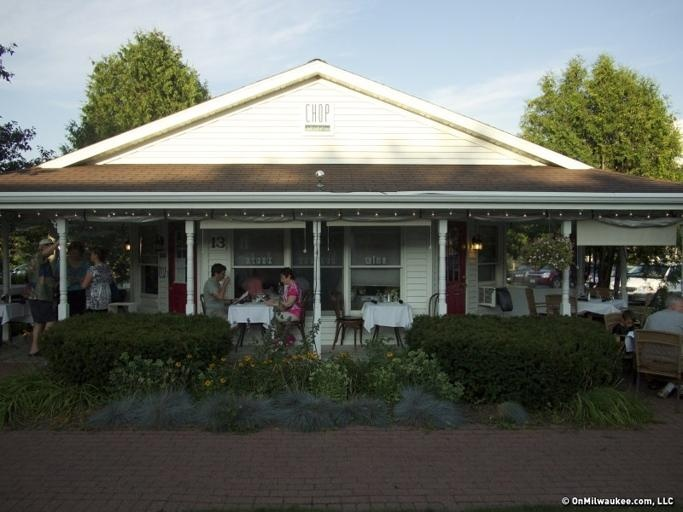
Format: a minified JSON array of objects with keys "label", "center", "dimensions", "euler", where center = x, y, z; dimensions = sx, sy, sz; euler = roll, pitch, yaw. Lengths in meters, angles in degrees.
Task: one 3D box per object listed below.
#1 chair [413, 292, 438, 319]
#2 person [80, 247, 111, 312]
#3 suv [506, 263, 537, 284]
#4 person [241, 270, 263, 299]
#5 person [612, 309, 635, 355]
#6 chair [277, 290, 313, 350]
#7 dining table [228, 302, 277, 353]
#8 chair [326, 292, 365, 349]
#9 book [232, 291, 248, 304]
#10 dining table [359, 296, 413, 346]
[{"label":"chair","center":[1.777,1.017,13.138],"dimensions":[0.466,0.495,0.256],"euler":[-2,-2,24]},{"label":"person","center":[-4.906,0.447,12.490],"dimensions":[0.549,1.253,0.437],"euler":[3,-4,-24]},{"label":"suv","center":[9.490,0.956,32.688],"dimensions":[1.451,1.037,2.419],"euler":[-1,-5,18]},{"label":"person","center":[-1.865,0.569,13.245],"dimensions":[0.444,0.627,0.729],"euler":[2,-3,-15]},{"label":"person","center":[5.250,1.382,11.578],"dimensions":[0.373,0.733,1.234],"euler":[0,-3,24]},{"label":"chair","center":[-0.996,1.278,12.806],"dimensions":[0.736,1.018,0.764],"euler":[-4,7,-17]},{"label":"dining table","center":[-1.794,1.280,12.648],"dimensions":[0.940,0.872,0.933],"euler":[1,11,6]},{"label":"chair","center":[0.051,1.368,13.320],"dimensions":[0.976,1.412,0.858],"euler":[0,3,16]},{"label":"book","center":[-2.045,0.851,12.743],"dimensions":[0.148,0.142,0.415],"euler":[30,-44,-24]},{"label":"dining table","center":[0.882,1.389,12.685],"dimensions":[1.115,0.749,1.150],"euler":[-1,-2,-27]}]
